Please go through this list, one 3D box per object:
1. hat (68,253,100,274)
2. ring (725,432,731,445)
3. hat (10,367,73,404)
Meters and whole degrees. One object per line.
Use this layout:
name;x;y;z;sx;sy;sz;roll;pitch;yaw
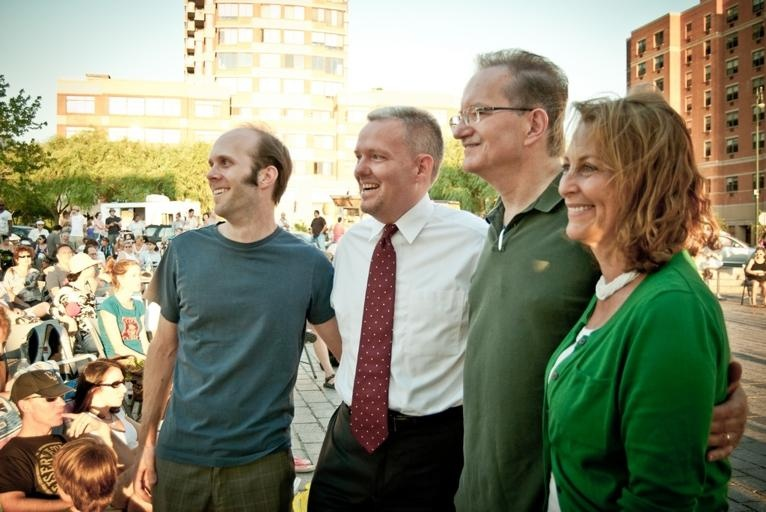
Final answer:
hat;-4.849;0.107;10.044;0.395;0.213;0.287;-23;13;-26
ring;1.394;0.735;2.529;0.045;0.032;0.012;-2;5;-22
hat;-2.615;0.980;4.746;0.356;0.194;0.233;-2;2;-19
